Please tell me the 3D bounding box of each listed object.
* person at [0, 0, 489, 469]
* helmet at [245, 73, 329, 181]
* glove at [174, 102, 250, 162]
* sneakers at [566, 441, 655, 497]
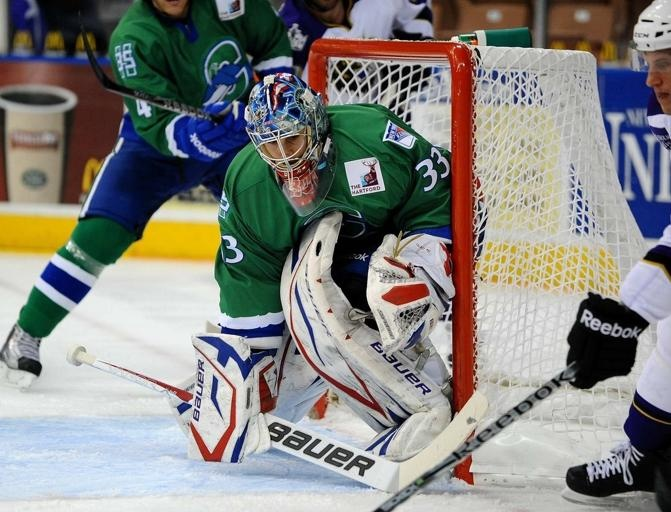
[{"bbox_3d":[-0.317,-0.015,3.133,1.247,1.634,0.981,-5,-12,13],"label":"person"},{"bbox_3d":[-0.139,-0.386,2.696,0.239,0.292,0.147,-1,10,-1],"label":"helmet"},{"bbox_3d":[-0.468,-0.455,3.406,0.251,0.112,0.187,11,33,27],"label":"glove"},{"bbox_3d":[0.758,0.609,2.660,0.283,0.129,0.109,-2,43,10],"label":"sneakers"}]
